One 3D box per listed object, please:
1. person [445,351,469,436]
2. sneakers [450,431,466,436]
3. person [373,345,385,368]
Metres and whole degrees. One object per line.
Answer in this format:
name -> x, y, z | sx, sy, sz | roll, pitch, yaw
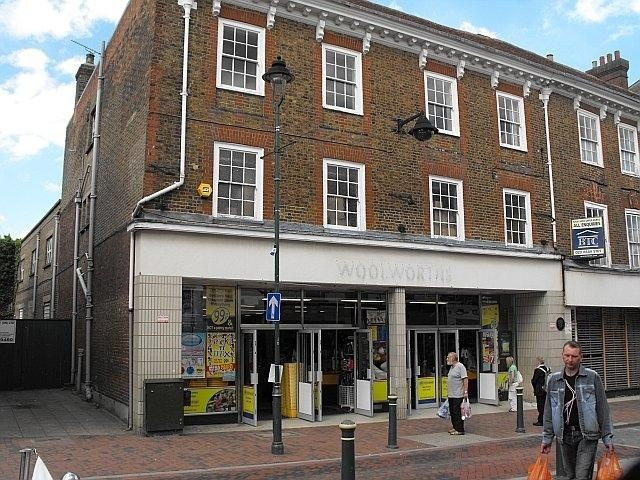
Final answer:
person -> 3.728, 4.138, 16.525 | 0.509, 2.148, 0.589 | -2, -10, 11
sneakers -> 3.676, 5.155, 16.313 | 0.337, 0.116, 0.130 | 3, -10, 12
person -> 1.925, 3.780, 19.718 | 0.430, 0.759, 0.163 | 1, -10, -6
